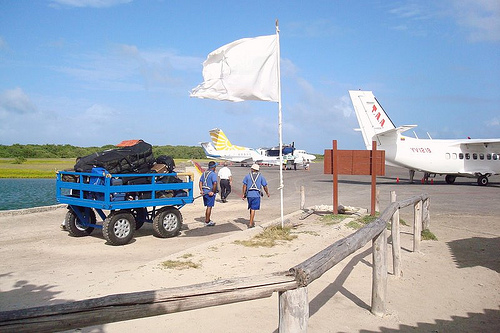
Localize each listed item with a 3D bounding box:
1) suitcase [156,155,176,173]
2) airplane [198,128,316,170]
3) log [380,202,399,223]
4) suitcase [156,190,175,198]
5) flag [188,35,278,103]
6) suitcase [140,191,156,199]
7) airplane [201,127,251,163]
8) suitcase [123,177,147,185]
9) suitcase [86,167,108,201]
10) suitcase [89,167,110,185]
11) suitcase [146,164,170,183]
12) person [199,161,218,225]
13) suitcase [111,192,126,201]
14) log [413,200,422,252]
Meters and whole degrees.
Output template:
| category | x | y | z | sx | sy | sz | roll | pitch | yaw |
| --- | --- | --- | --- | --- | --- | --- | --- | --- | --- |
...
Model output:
| category | x | y | z | sx | sy | sz | roll | pitch | yaw |
| --- | --- | --- | --- | --- | --- | --- | --- | --- | --- |
| suitcase | -3.031 | -0.130 | 12.448 | 0.662 | 0.607 | 0.506 | -19 | 22 | -30 |
| airplane | 0.293 | -2.177 | 57.264 | 12.285 | 6.466 | 14.443 | 0 | 8 | -21 |
| log | 3.272 | 1.144 | 8.254 | 0.247 | 0.302 | 1.916 | 7 | 9 | 28 |
| suitcase | -2.956 | 0.977 | 12.129 | 0.703 | 0.430 | 0.229 | 6 | -3 | -18 |
| flag | -0.593 | -3.256 | 11.442 | 3.272 | 2.470 | 0.546 | 7 | 33 | 15 |
| suitcase | -3.377 | 0.956 | 11.448 | 0.399 | 0.213 | 0.373 | 2 | 5 | -3 |
| airplane | -4.507 | -2.855 | 60.377 | 7.651 | 3.409 | 8.120 | -1 | 7 | 12 |
| suitcase | -3.659 | 0.483 | 11.163 | 0.723 | 0.202 | 0.140 | -3 | 10 | -40 |
| suitcase | -4.815 | 0.557 | 10.960 | 1.066 | 1.100 | 0.303 | 10 | 11 | 39 |
| suitcase | -4.717 | 0.295 | 10.854 | 0.742 | 0.543 | 0.213 | 7 | 9 | 25 |
| suitcase | -3.202 | 0.084 | 12.067 | 0.683 | 0.497 | 0.219 | -18 | -21 | -15 |
| person | -1.678 | 1.107 | 14.134 | 0.711 | 2.684 | 1.573 | 2 | 8 | -7 |
| suitcase | -4.105 | 0.954 | 10.867 | 0.397 | 0.258 | 0.212 | -1 | 9 | -27 |
| log | 5.168 | 1.890 | 10.723 | 0.276 | 1.719 | 0.295 | -7 | 27 | 6 |
